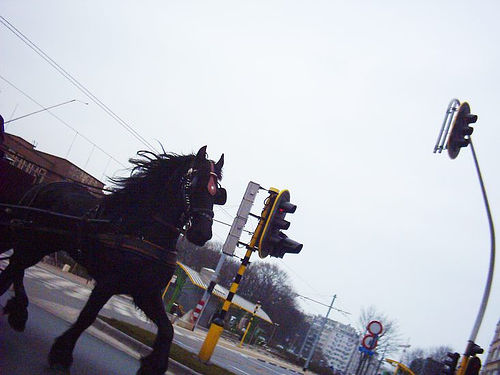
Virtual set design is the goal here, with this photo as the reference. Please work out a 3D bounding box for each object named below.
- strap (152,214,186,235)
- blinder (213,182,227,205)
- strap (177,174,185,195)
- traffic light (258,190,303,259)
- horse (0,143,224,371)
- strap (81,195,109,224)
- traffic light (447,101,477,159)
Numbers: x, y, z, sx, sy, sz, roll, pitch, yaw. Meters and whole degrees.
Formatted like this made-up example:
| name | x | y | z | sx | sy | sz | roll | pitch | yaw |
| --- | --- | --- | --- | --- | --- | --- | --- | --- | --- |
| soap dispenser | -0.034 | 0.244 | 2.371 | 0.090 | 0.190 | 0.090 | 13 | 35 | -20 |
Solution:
| name | x | y | z | sx | sy | sz | roll | pitch | yaw |
| --- | --- | --- | --- | --- | --- | --- | --- | --- | --- |
| strap | -0.984 | 0.441 | 4.012 | 0.438 | 0.121 | 0.063 | 30 | -17 | -13 |
| blinder | -0.382 | 0.112 | 4.282 | 0.175 | 0.287 | 0.279 | 1 | 1 | -33 |
| strap | -0.849 | -0.044 | 4.053 | 0.042 | 0.196 | 0.132 | 7 | 5 | 4 |
| traffic light | 0.746 | 0.909 | 7.772 | 1.005 | 1.647 | 0.881 | 17 | -3 | 31 |
| horse | -1.777 | 0.668 | 4.222 | 2.690 | 2.195 | 0.587 | 15 | -16 | 28 |
| strap | -2.102 | 0.307 | 4.517 | 0.092 | 0.358 | 0.097 | 39 | -19 | -5 |
| traffic light | 5.370 | -1.376 | 8.454 | 0.460 | 1.742 | 0.795 | 4 | -22 | 45 |
